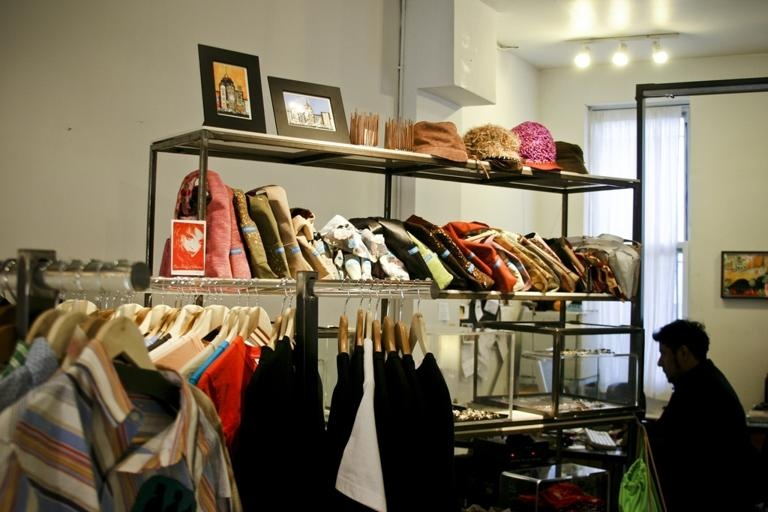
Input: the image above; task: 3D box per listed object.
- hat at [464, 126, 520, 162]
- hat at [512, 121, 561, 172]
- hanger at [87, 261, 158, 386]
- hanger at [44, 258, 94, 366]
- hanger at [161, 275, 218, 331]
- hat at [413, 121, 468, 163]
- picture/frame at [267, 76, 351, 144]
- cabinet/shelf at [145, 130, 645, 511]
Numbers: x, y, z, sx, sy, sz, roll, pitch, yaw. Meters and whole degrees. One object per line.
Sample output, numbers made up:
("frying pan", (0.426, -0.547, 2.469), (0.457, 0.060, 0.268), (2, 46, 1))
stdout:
("hat", (0.664, -0.686, 3.760), (0.215, 0.194, 0.302), (-2, 6, -33))
("hat", (1.024, -0.759, 4.091), (0.308, 0.283, 0.463), (-7, 21, 0))
("hanger", (-0.614, 0.144, 1.424), (0.135, 0.265, 0.100), (-1, 2, -22))
("hanger", (-0.745, 0.140, 1.445), (0.034, 0.218, 0.125), (-18, -9, 24))
("hanger", (-0.697, 0.171, 2.168), (0.165, 0.201, 0.206), (-1, -2, 19))
("hat", (0.331, -0.663, 3.520), (0.341, 0.247, 0.207), (-1, 3, -9))
("picture/frame", (-0.389, -0.781, 3.263), (0.459, 0.334, 0.175), (-3, 3, -39))
("cabinet/shelf", (-0.042, 0.237, 3.775), (2.666, 1.640, 0.636), (4, 0, -7))
